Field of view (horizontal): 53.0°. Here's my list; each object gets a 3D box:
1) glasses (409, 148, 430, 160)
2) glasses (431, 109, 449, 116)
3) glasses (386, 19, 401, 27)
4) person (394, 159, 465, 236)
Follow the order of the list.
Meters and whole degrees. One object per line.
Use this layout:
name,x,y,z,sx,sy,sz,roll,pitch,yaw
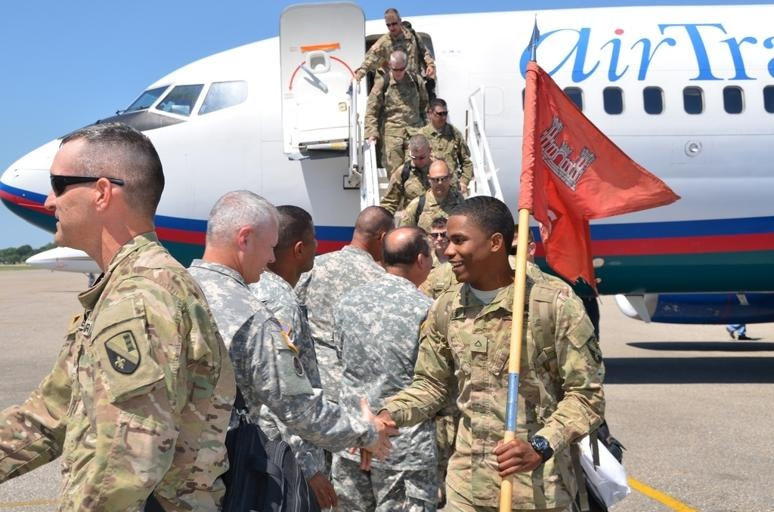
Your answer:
glasses,0.395,-1.278,9.865,0.231,0.129,0.294,-1,4,-1
glasses,0.673,-1.913,10.366,0.172,0.060,0.178,-2,11,-16
glasses,0.068,-3.278,10.971,0.184,0.079,0.089,-1,4,-8
person,0.441,-0.675,9.008,0.979,1.098,0.430,-5,35,-9
